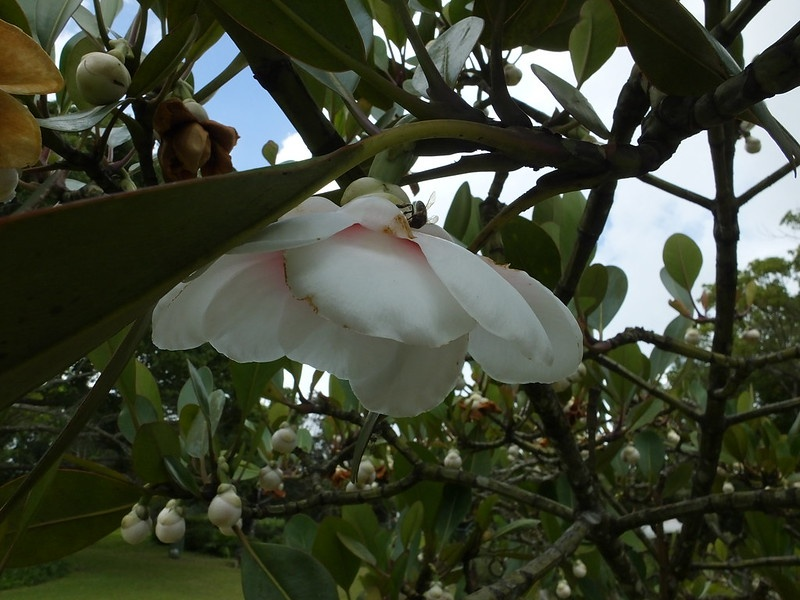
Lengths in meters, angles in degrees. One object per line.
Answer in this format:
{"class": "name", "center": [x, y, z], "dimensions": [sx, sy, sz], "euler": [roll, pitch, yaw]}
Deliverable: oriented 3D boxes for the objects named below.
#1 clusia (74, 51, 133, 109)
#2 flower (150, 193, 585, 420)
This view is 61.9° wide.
{"class": "clusia", "center": [-0.523, -0.391, 1.174], "dimensions": [0.083, 0.094, 0.058], "euler": [31, -25, -30]}
{"class": "flower", "center": [-0.073, -0.011, 1.028], "dimensions": [0.567, 0.307, 0.676], "euler": [1, -19, 17]}
